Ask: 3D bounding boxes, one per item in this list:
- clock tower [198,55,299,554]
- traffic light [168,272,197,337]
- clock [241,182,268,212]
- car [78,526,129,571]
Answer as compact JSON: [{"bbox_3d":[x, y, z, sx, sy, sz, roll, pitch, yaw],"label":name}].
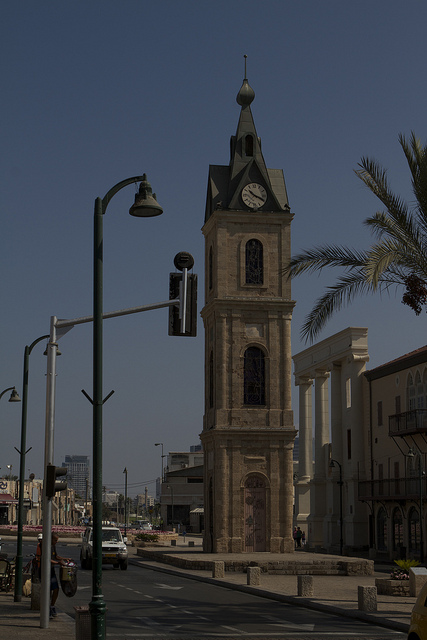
[{"bbox_3d":[1.659,-0.374,56.610,4.488,22.922,3.975,-2,-11,6],"label":"clock tower"},{"bbox_3d":[-0.566,-0.232,21.410,0.490,1.228,0.441,-1,-11,-4],"label":"traffic light"},{"bbox_3d":[1.953,-5.713,56.990,1.100,1.412,0.127,-4,-3,-7],"label":"clock"},{"bbox_3d":[-4.236,8.638,44.610,1.396,2.023,3.072,4,-13,-16],"label":"car"}]
